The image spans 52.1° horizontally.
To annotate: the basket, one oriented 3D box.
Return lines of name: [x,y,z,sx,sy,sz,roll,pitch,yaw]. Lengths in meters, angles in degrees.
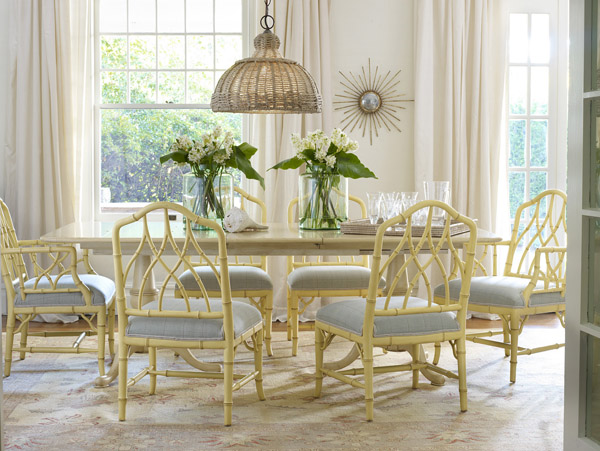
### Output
basket: [-0.198,-0.830,3.475,0.531,0.374,0.536,1,3,0]

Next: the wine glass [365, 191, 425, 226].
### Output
wine glass: [0.505,-0.093,3.519,0.211,0.154,0.214,0,-4,-2]

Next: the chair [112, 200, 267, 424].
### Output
chair: [-0.648,0.355,3.617,0.781,1.139,1.480,-2,9,-11]

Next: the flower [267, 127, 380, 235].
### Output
flower: [0.125,-0.307,3.707,0.557,0.533,0.557,0,7,-2]

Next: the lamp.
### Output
lamp: [-0.203,-0.934,3.791,0.630,0.739,0.668,0,2,-2]

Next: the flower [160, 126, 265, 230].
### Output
flower: [-0.478,-0.296,3.779,0.501,0.491,0.567,8,9,9]

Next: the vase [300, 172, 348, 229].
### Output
vase: [0.164,-0.140,3.722,0.314,0.342,0.299,-2,-2,38]

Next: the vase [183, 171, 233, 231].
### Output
vase: [-0.515,-0.148,3.718,0.324,0.360,0.327,1,3,1]
